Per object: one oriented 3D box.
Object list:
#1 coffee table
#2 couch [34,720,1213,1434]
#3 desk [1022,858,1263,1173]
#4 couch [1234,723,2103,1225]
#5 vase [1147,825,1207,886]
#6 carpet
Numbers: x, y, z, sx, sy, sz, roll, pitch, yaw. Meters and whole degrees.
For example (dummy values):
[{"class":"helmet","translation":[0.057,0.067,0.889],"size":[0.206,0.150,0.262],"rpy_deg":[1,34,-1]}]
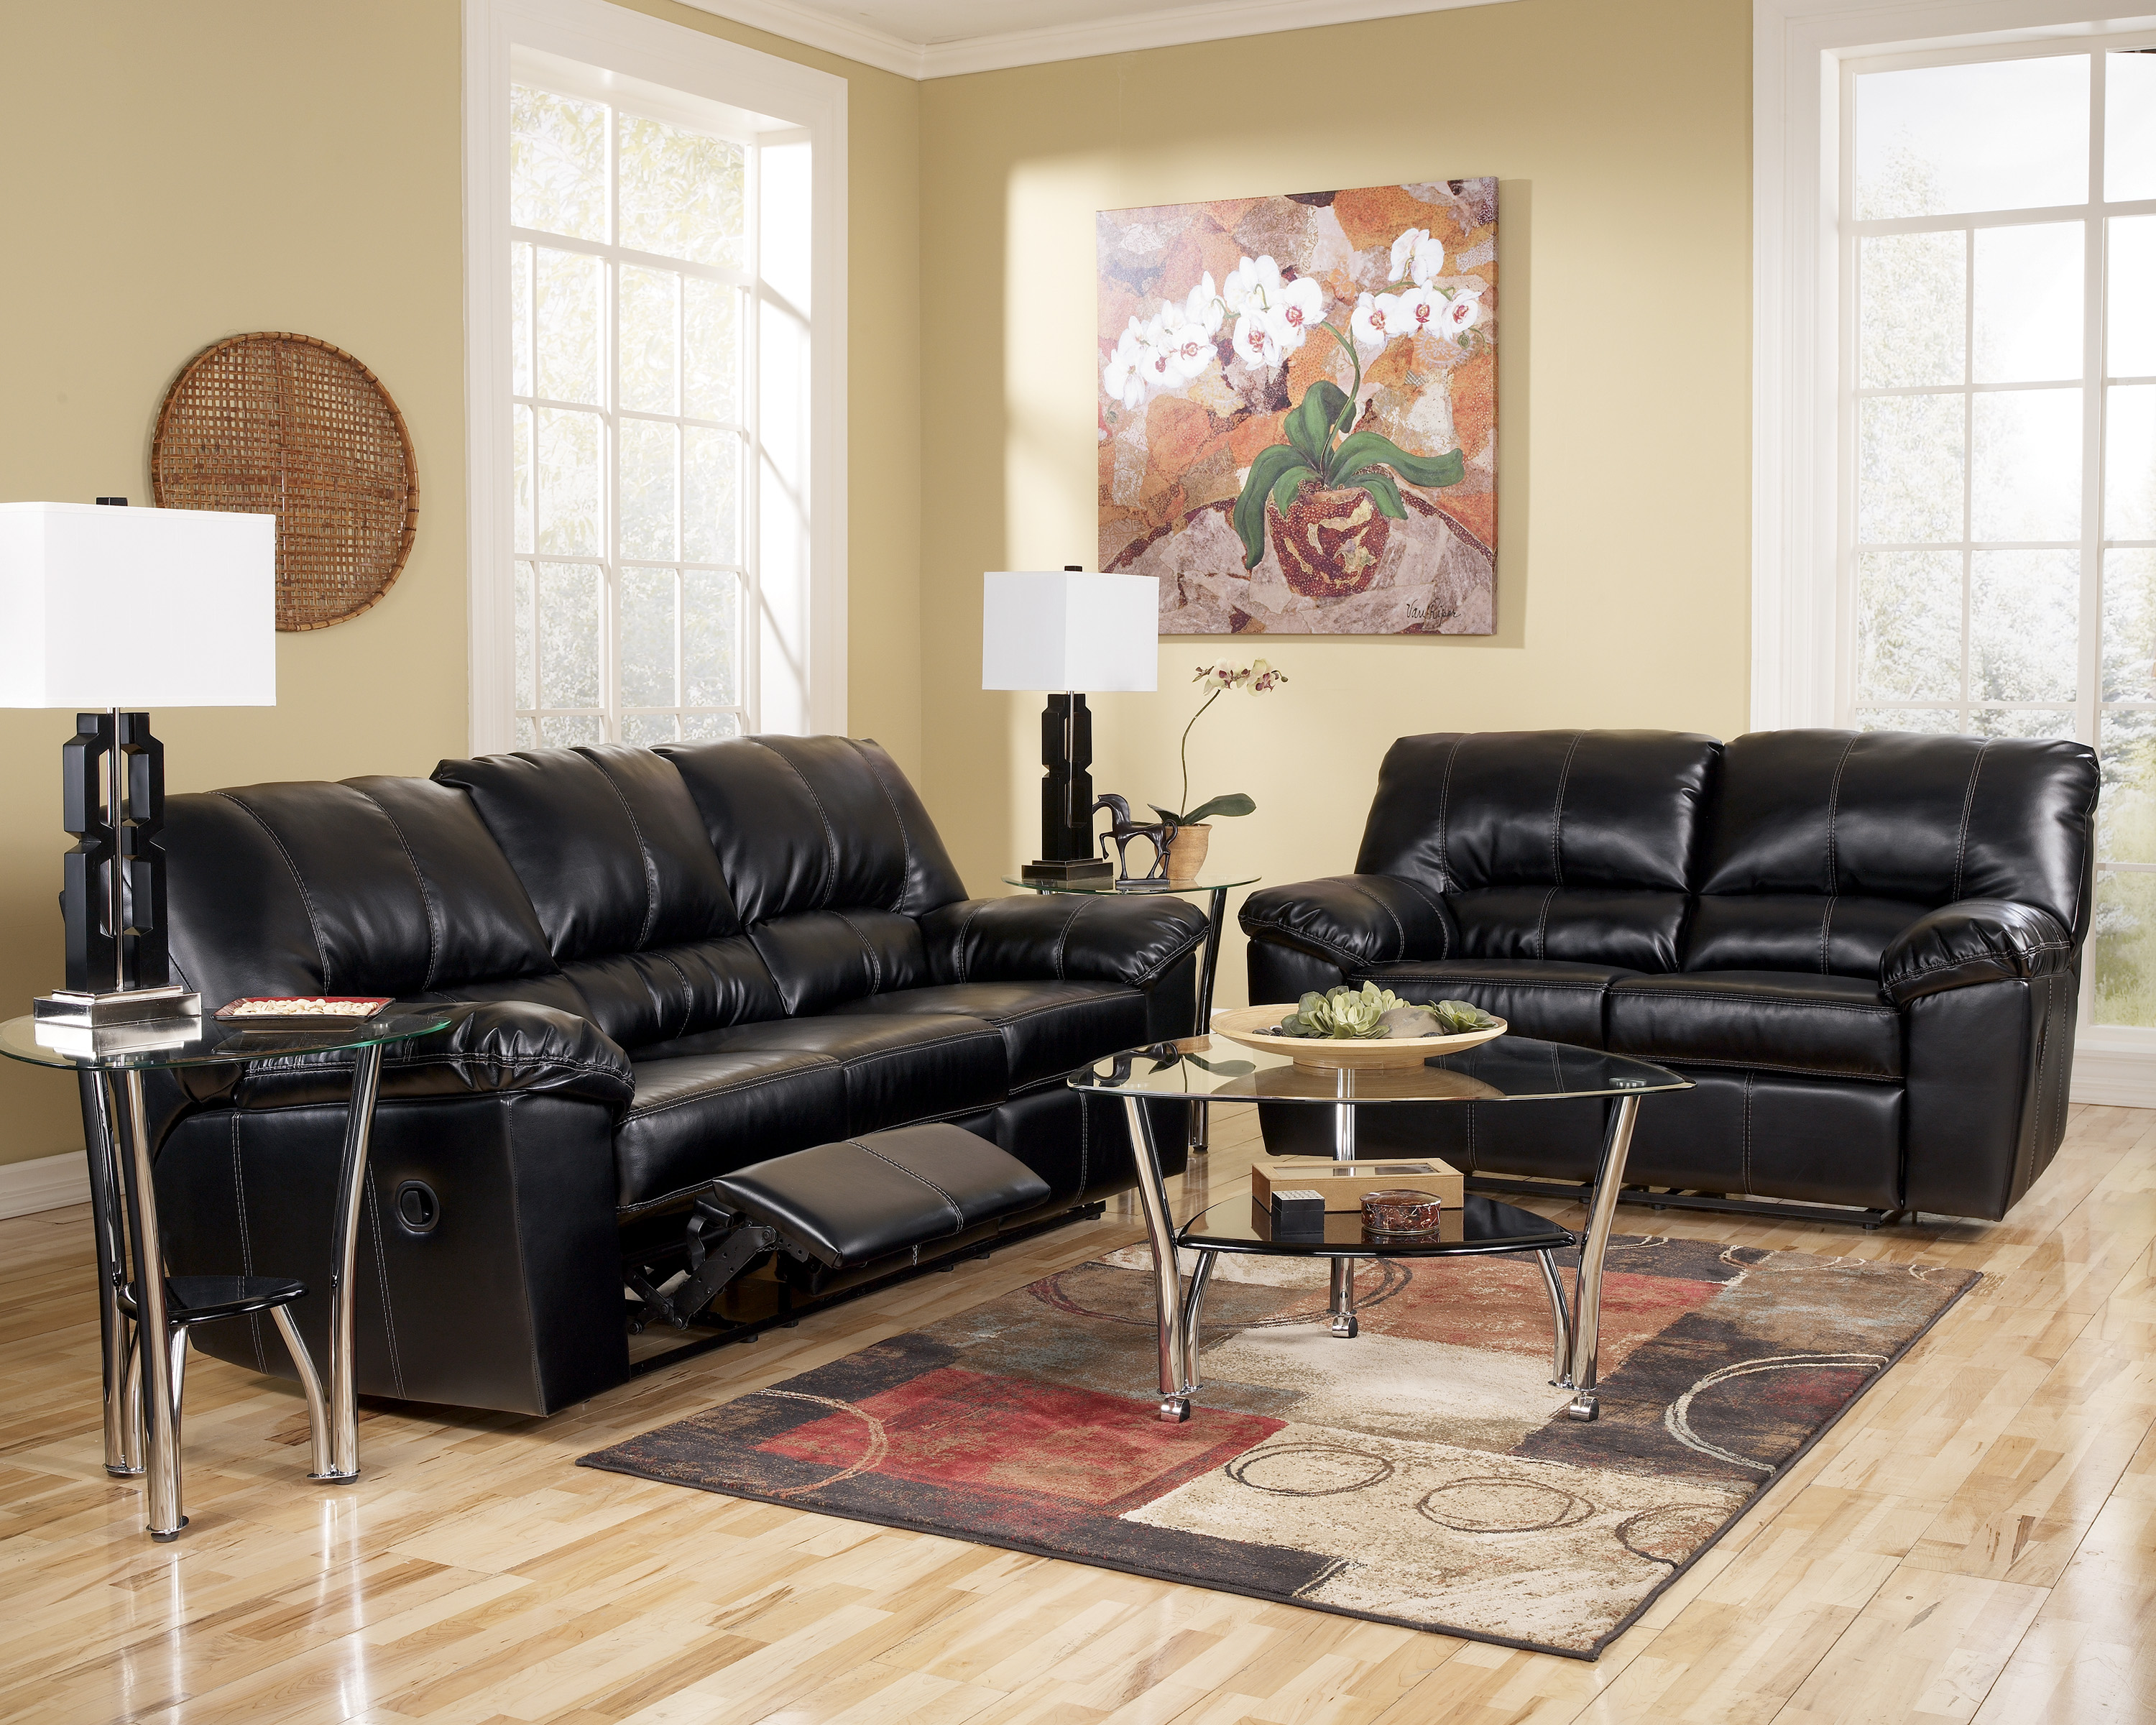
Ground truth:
[{"class":"coffee table","translation":[0.495,0.536,3.146],"size":[0.913,0.393,0.877],"rpy_deg":[0,1,26]},{"class":"couch","translation":[-0.853,0.429,3.403],"size":[0.763,0.605,1.689],"rpy_deg":[0,2,35]},{"class":"desk","translation":[0.515,0.398,5.118],"size":[1.026,0.776,0.893],"rpy_deg":[0,0,18]},{"class":"couch","translation":[1.677,0.187,4.846],"size":[2.924,1.160,1.390],"rpy_deg":[1,0,29]},{"class":"vase","translation":[0.285,-0.008,5.183],"size":[0.215,0.150,0.171],"rpy_deg":[0,-5,-1]},{"class":"carpet","translation":[0.453,0.887,3.225],"size":[1.562,0.018,1.819],"rpy_deg":[1,3,33]}]
